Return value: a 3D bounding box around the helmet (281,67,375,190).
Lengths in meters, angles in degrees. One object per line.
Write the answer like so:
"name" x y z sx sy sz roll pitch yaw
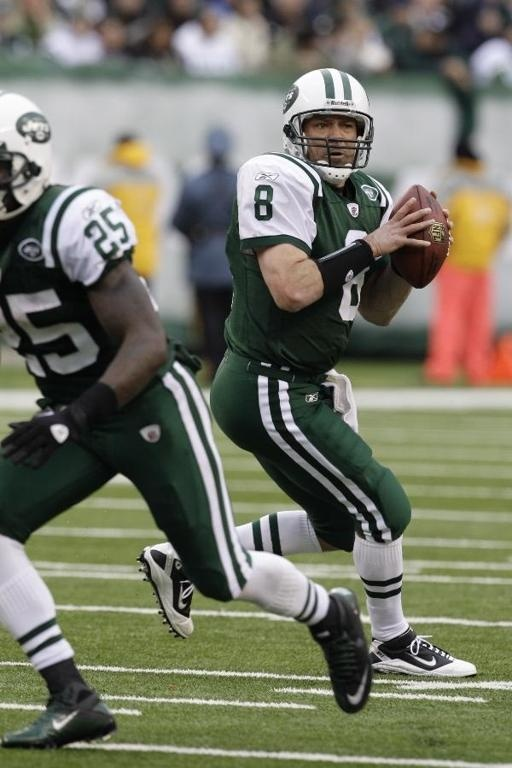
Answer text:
"helmet" 0.190 -0.696 2.300 0.298 0.320 0.337 0 7 -10

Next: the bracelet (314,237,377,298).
"bracelet" 0.217 -0.285 2.055 0.169 0.092 0.074 -27 40 -24

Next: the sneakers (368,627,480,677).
"sneakers" 0.429 0.709 2.265 0.346 0.114 0.113 2 -4 9
